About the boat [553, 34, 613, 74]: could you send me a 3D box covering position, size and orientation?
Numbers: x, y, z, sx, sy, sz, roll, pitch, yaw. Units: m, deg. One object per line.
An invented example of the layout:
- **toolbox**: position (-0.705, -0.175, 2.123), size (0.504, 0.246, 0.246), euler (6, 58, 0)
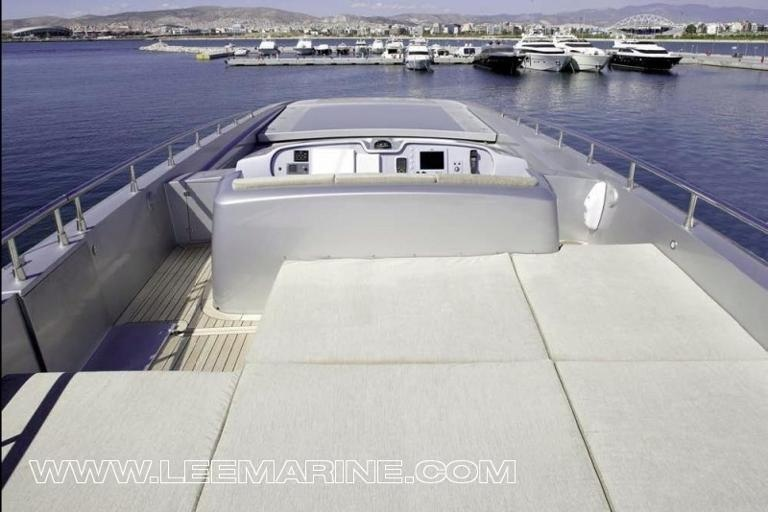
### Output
- **boat**: position (20.009, -19.800, 37.561), size (3.941, 2.977, 5.642), euler (2, 25, 8)

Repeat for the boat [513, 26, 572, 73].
- **boat**: position (16.355, -20.879, 39.081), size (3.431, 2.829, 8.051), euler (-8, 30, -8)

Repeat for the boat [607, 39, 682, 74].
- **boat**: position (25.232, -20.619, 38.552), size (9.097, 2.401, 2.848), euler (7, 35, 8)

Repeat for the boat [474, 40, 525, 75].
- **boat**: position (12.359, -21.150, 40.774), size (2.999, 2.621, 8.002), euler (-11, 21, -15)
